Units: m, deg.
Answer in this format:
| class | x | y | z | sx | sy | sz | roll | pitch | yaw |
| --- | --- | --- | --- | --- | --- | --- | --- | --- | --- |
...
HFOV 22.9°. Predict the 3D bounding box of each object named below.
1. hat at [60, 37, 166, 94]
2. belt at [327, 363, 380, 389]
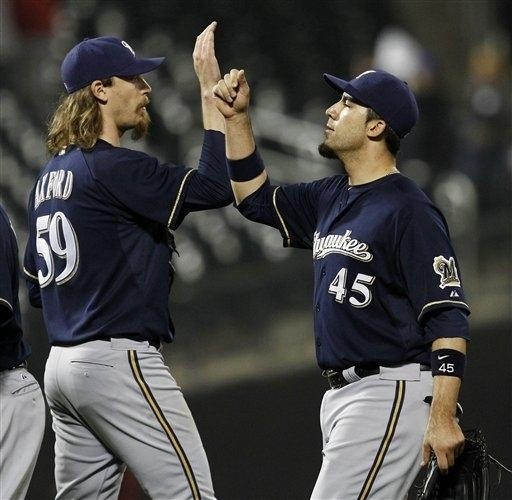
| class | x | y | z | sx | sy | sz | roll | pitch | yaw |
| --- | --- | --- | --- | --- | --- | --- | --- | --- | --- |
| hat | -0.603 | -0.760 | 5.191 | 0.413 | 0.260 | 0.284 | -8 | 0 | -11 |
| belt | 0.359 | 0.485 | 4.926 | 0.063 | 0.086 | 0.285 | -10 | 1 | -43 |
